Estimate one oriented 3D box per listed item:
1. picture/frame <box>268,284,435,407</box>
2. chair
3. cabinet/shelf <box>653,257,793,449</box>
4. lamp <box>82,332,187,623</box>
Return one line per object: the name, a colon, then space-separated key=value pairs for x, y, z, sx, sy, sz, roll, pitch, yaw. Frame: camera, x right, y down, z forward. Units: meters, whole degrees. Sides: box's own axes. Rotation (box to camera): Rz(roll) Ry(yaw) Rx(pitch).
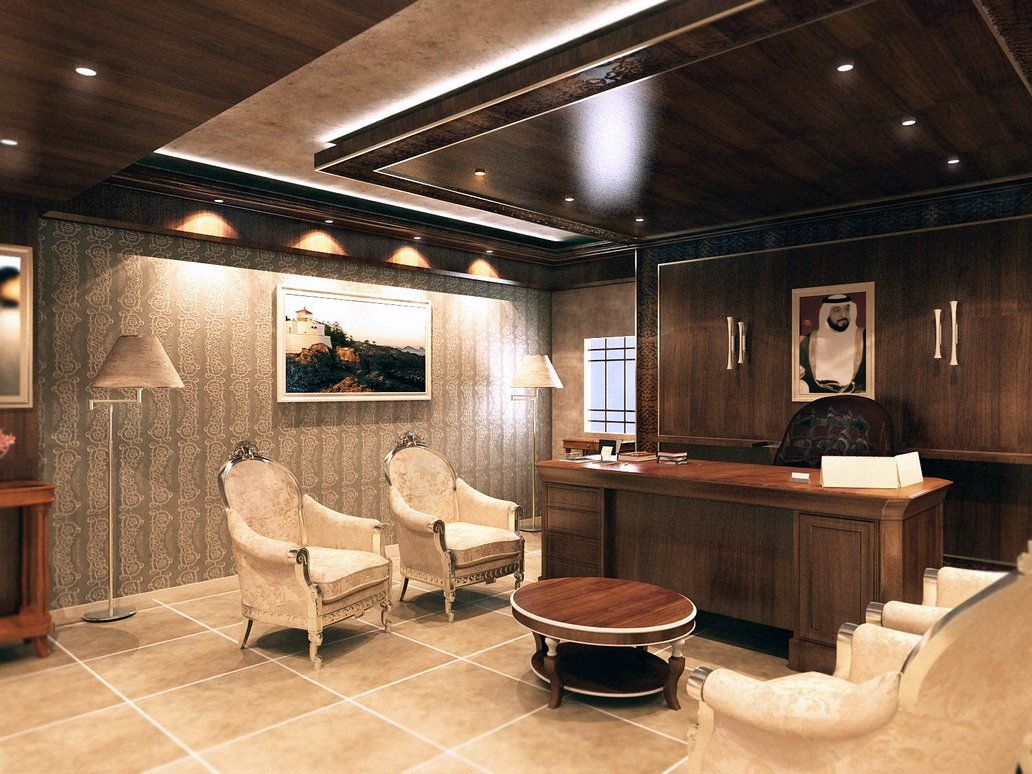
picture/frame: x=-1.624 y=-0.398 z=7.207 sx=1.690 sy=0.770 sz=0.042 roll=0 pitch=2 yaw=-42
chair: x=2.677 y=0.363 z=6.338 sx=0.845 sy=0.744 sz=0.742 roll=3 pitch=-4 yaw=-41
cabinet/shelf: x=1.996 y=-0.356 z=7.410 sx=0.447 sy=1.828 sz=1.515 roll=-6 pitch=10 yaw=-35
lamp: x=-2.891 y=0.638 z=5.691 sx=0.751 sy=2.053 sz=0.805 roll=-3 pitch=9 yaw=-22
